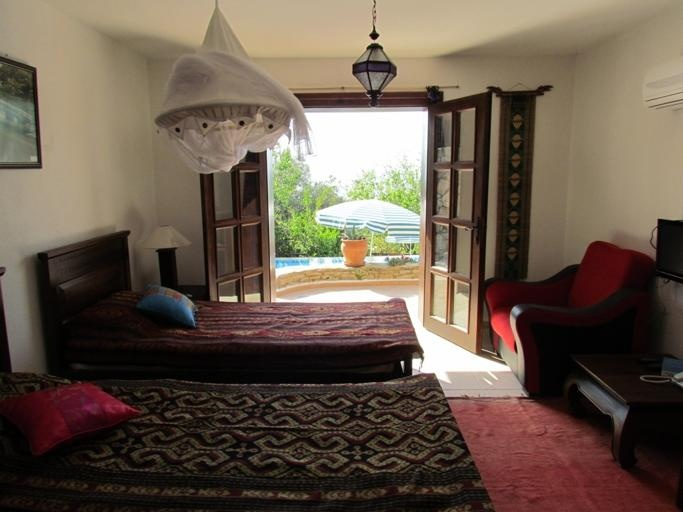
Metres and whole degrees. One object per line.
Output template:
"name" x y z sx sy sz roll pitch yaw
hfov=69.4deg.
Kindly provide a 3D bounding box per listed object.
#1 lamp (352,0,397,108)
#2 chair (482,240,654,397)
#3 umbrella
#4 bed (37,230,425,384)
"lamp" 0.265 -1.607 3.971 0.311 0.774 0.853 -1 14 4
"chair" 2.029 0.482 4.719 1.468 1.270 1.199 -3 10 -1
"umbrella" 0.604 -0.581 8.597 1.138 0.628 1.116 12 17 32
"bed" -0.956 0.508 3.864 2.254 0.776 1.328 -2 13 -5
